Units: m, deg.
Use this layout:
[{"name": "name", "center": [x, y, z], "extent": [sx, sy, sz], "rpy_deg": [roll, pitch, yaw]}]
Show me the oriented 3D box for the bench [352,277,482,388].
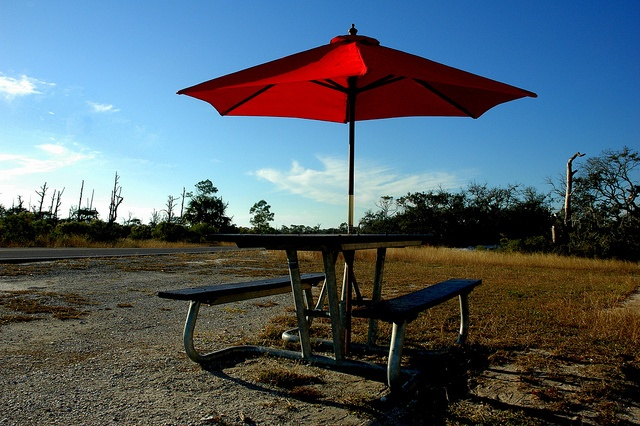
[{"name": "bench", "center": [1.571, 1.507, 5.590], "extent": [0.488, 0.914, 2.621], "rpy_deg": [-4, -1, 39]}]
